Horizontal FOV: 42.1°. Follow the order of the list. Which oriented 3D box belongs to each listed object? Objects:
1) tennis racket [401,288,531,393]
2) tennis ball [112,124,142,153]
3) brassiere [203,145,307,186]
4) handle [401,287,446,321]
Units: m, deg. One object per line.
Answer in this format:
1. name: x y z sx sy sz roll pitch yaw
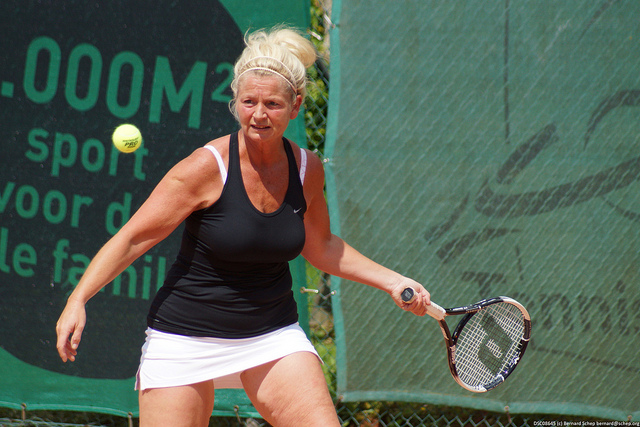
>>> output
1. tennis racket: 1.044 0.833 6.005 1.036 0.689 0.143 24 -14 47
2. tennis ball: -1.395 -0.533 6.010 0.171 0.201 0.186 -1 -6 0
3. brassiere: -0.379 -0.295 5.231 0.664 0.236 0.193 -7 33 -18
4. handle: 0.725 0.611 5.744 0.363 0.112 0.077 39 5 -27
